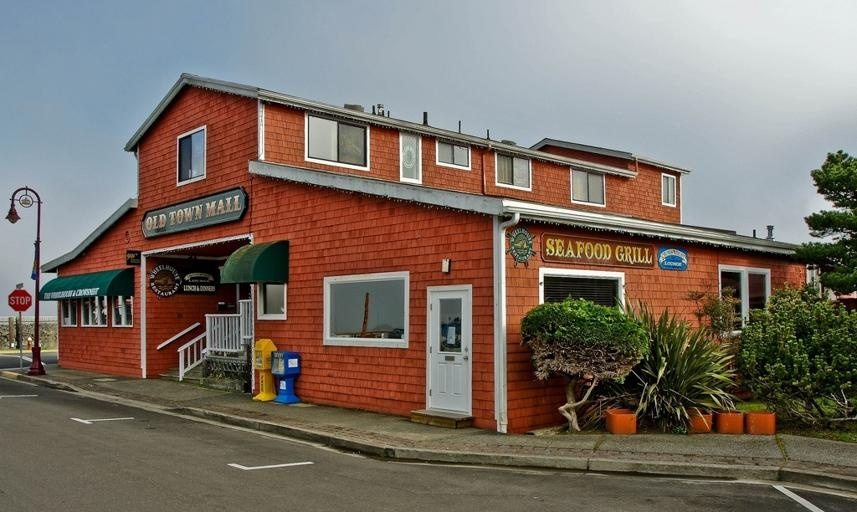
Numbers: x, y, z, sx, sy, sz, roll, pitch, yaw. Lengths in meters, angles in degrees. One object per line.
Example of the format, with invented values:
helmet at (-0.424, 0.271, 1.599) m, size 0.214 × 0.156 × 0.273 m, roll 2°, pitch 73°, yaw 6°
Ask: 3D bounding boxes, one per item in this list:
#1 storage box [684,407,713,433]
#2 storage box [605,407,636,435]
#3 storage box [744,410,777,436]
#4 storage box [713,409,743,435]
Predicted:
storage box at (6.811, 4.066, 19.852) m, size 0.639 × 0.429 × 0.610 m, roll 1°, pitch 1°, yaw -15°
storage box at (4.835, 4.083, 19.749) m, size 0.602 × 0.365 × 0.597 m, roll 1°, pitch -1°, yaw 24°
storage box at (8.234, 4.091, 19.582) m, size 0.597 × 0.400 × 0.574 m, roll 0°, pitch -2°, yaw 6°
storage box at (7.501, 4.097, 19.697) m, size 0.568 × 0.392 × 0.539 m, roll 1°, pitch 1°, yaw -4°
